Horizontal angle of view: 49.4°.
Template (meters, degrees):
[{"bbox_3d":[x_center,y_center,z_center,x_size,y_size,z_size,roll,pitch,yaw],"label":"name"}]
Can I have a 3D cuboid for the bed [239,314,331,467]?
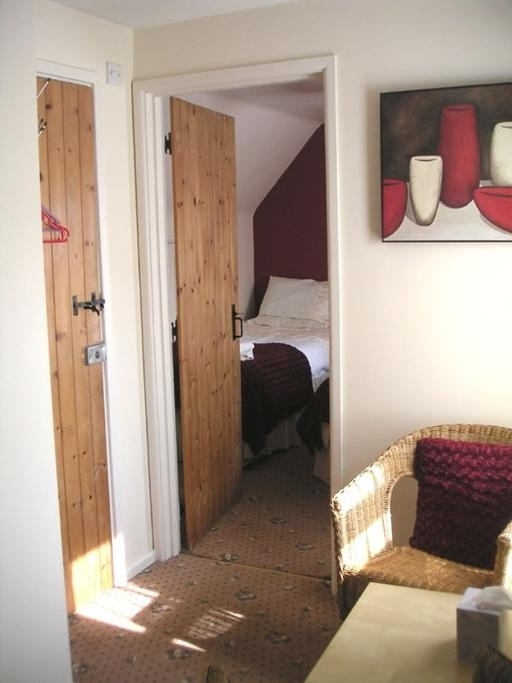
[{"bbox_3d":[0.205,0.363,4.252,0.686,0.793,1.746,-1,6,7],"label":"bed"}]
